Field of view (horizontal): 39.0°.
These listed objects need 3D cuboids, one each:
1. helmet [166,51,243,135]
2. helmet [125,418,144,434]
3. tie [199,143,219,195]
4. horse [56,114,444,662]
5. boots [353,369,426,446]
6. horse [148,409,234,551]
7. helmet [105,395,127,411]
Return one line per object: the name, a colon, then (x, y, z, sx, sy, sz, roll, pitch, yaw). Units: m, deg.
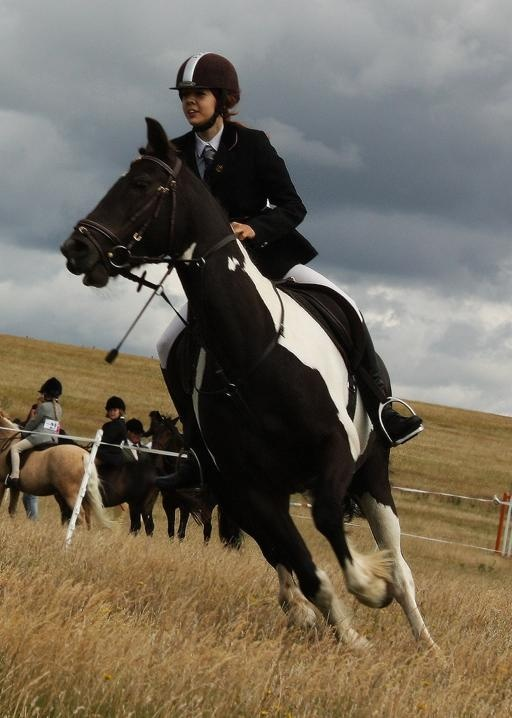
helmet: (-0.344, -1.693, 4.511, 0.400, 0.407, 0.330, -19, 34, -35)
helmet: (-2.583, 1.441, 15.345, 0.281, 0.226, 0.379, -4, 9, -36)
tie: (-0.260, -1.254, 4.758, 0.079, 0.323, 0.189, 2, 15, 17)
horse: (0.060, 0.318, 4.650, 2.732, 2.843, 1.652, 6, 2, -15)
boots: (0.861, 0.313, 5.005, 0.423, 0.555, 0.207, -27, 5, -8)
horse: (-1.218, 2.484, 13.374, 0.848, 2.258, 3.344, -12, -26, 19)
helmet: (-2.635, 0.835, 13.553, 0.408, 0.322, 0.484, 0, -12, -7)
